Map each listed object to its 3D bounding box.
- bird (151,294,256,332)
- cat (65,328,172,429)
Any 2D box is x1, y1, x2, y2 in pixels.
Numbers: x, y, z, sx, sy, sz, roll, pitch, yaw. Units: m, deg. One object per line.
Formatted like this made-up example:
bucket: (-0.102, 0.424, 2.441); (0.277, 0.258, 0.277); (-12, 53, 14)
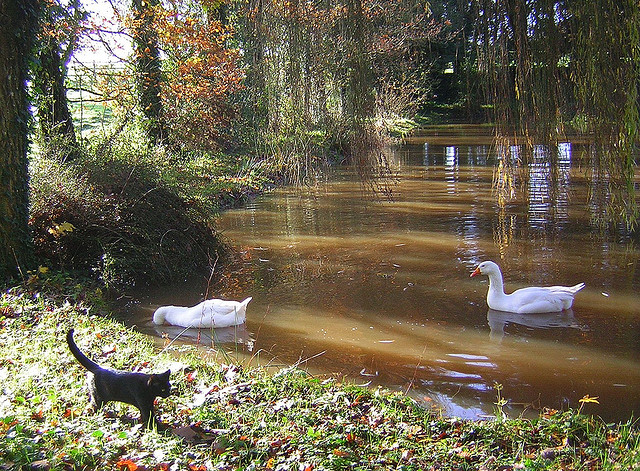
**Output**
bird: (-1.355, 0.928, 6.694); (1.071, 0.446, 0.510); (-2, 1, 1)
cat: (-1.474, 1.061, 4.243); (0.865, 0.710, 0.214); (8, 15, 23)
